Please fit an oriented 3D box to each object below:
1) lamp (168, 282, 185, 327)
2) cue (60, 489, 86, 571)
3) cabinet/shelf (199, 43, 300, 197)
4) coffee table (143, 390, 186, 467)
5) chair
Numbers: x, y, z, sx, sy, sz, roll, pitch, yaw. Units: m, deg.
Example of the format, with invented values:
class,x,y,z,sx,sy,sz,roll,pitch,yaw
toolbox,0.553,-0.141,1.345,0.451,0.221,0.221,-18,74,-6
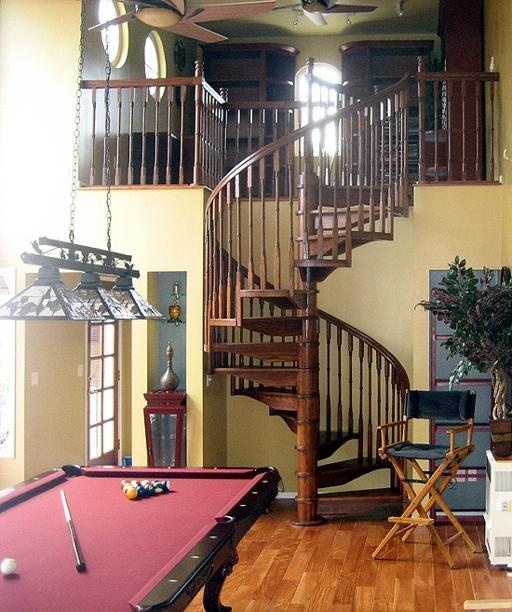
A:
class,x,y,z,sx,sy,sz,roll,pitch,yaw
lamp,-0.768,-0.012,6.794,0.167,0.404,0.617,3,-1,-6
cue,-0.715,0.857,2.727,0.038,0.030,0.974,3,-1,-19
cabinet/shelf,0.024,-2.065,8.345,1.467,2.213,0.535,0,5,-10
coffee table,-0.735,0.980,5.743,0.326,0.672,0.306,2,3,3
chair,1.209,1.172,4.947,0.524,1.136,0.557,-1,-2,36
